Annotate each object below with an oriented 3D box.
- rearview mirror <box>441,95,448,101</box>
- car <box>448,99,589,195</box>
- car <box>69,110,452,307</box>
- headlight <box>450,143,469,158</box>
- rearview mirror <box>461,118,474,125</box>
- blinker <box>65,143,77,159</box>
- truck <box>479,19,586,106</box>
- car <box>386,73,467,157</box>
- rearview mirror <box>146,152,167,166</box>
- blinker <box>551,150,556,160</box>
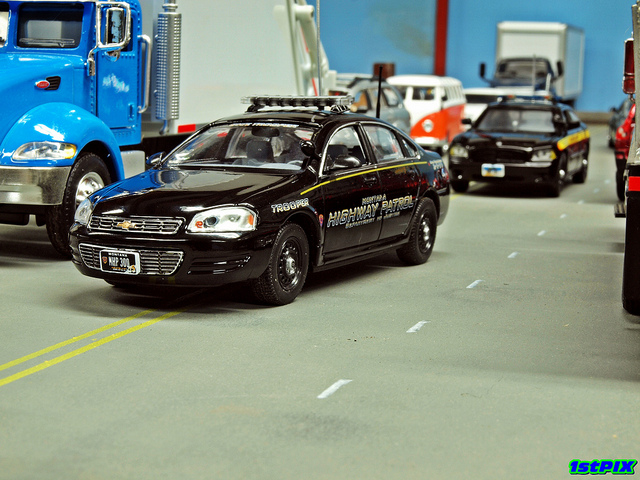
[{"bbox_3d":[4.316,-4.914,21.400,0.119,0.214,0.487,4,10,25],"label":"rearview mirror"},{"bbox_3d":[4.866,-2.297,15.112,1.884,2.264,4.916,2,4,33],"label":"car"},{"bbox_3d":[-0.395,-0.580,8.469,2.570,2.105,5.739,2,8,32],"label":"car"},{"bbox_3d":[3.368,-2.148,14.920,0.338,0.367,0.118,9,-1,24],"label":"headlight"},{"bbox_3d":[3.972,-3.161,16.557,0.378,0.165,0.392,2,8,-15],"label":"rearview mirror"},{"bbox_3d":[-3.123,-1.111,7.737,0.045,0.168,0.113,-7,-22,35],"label":"blinker"},{"bbox_3d":[10.308,-8.337,30.915,3.670,4.329,7.989,6,19,23],"label":"truck"},{"bbox_3d":[4.013,-4.730,22.932,2.322,2.505,4.976,5,16,25],"label":"car"},{"bbox_3d":[-2.022,-1.001,7.620,0.269,0.092,0.188,-27,26,-15],"label":"rearview mirror"},{"bbox_3d":[5.441,-1.951,14.360,0.110,0.166,0.043,-5,7,-11],"label":"blinker"}]
